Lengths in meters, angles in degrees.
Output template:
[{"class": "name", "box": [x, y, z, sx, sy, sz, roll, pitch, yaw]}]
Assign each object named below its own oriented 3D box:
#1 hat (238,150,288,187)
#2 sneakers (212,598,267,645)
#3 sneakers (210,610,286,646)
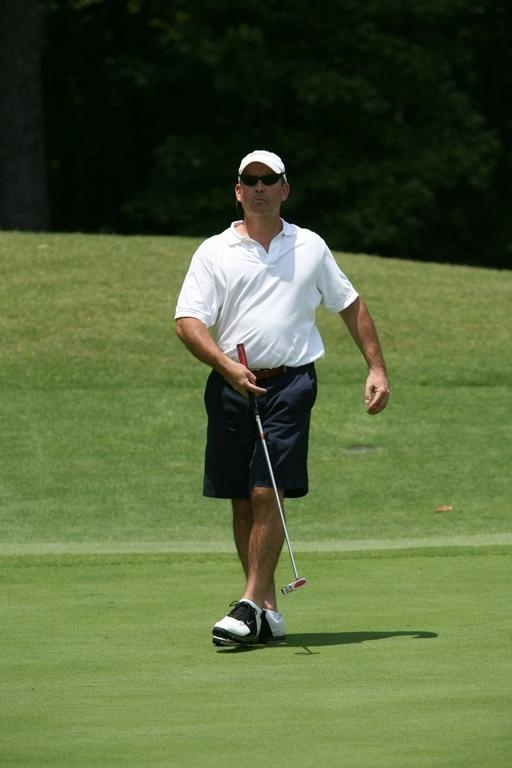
[{"class": "hat", "box": [0.034, -0.683, 4.182, 0.111, 0.077, 0.156, -1, -21, 3]}, {"class": "sneakers", "box": [-0.043, 0.700, 3.636, 0.083, 0.118, 0.248, 0, 2, 20]}, {"class": "sneakers", "box": [-0.012, 0.697, 3.640, 0.222, 0.091, 0.091, 5, -7, -36]}]
